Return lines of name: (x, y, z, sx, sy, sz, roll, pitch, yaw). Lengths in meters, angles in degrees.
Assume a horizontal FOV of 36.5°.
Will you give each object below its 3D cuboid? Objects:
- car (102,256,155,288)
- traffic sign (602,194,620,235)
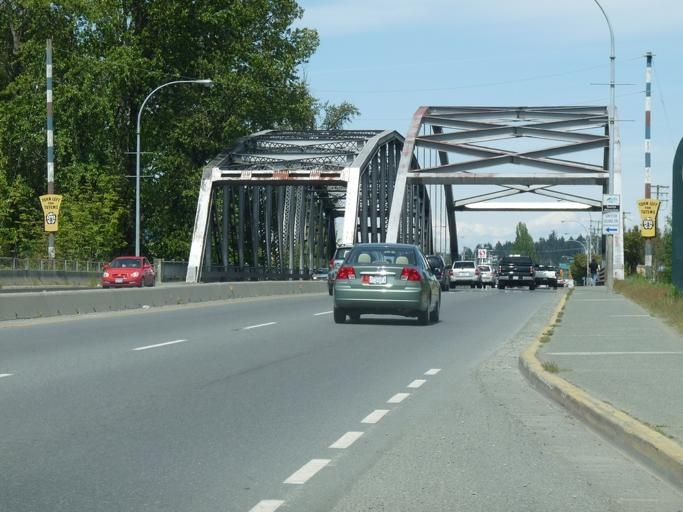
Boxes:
car: (-8.815, 0.680, 44.017, 1.087, 0.848, 2.367, -1, -5, 4)
traffic sign: (10.075, -1.580, 38.727, 0.650, 1.663, 0.064, 1, -19, 15)
